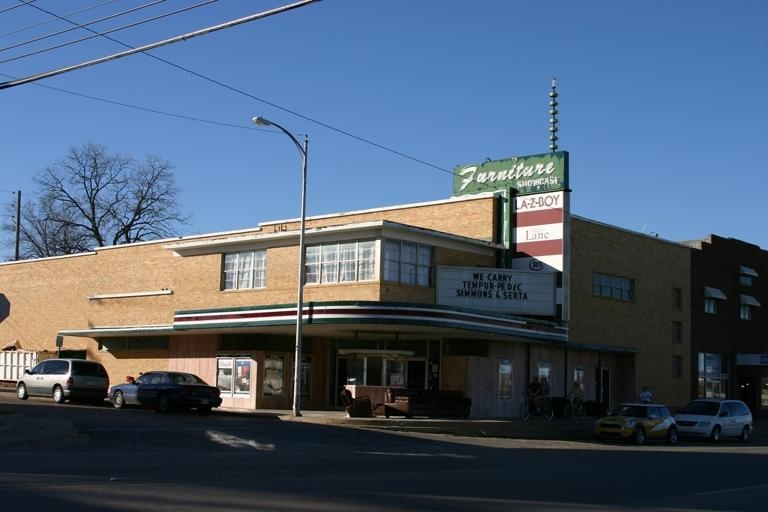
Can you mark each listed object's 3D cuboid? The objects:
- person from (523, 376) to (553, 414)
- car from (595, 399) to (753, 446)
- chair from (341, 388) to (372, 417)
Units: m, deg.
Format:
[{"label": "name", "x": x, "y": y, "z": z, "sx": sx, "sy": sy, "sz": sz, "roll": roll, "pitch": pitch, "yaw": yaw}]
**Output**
[{"label": "person", "x": 7.554, "y": 6.879, "z": 50.611, "sx": 1.316, "sy": 1.890, "sz": 1.367, "roll": 2, "pitch": -7, "yaw": 8}, {"label": "car", "x": 13.466, "y": 7.485, "z": 47.015, "sx": 8.259, "sy": 1.972, "sz": 1.657, "roll": 7, "pitch": -8, "yaw": -36}, {"label": "chair", "x": -1.262, "y": 6.662, "z": 46.909, "sx": 1.406, "sy": 1.236, "sz": 0.833, "roll": 2, "pitch": -7, "yaw": 1}]
